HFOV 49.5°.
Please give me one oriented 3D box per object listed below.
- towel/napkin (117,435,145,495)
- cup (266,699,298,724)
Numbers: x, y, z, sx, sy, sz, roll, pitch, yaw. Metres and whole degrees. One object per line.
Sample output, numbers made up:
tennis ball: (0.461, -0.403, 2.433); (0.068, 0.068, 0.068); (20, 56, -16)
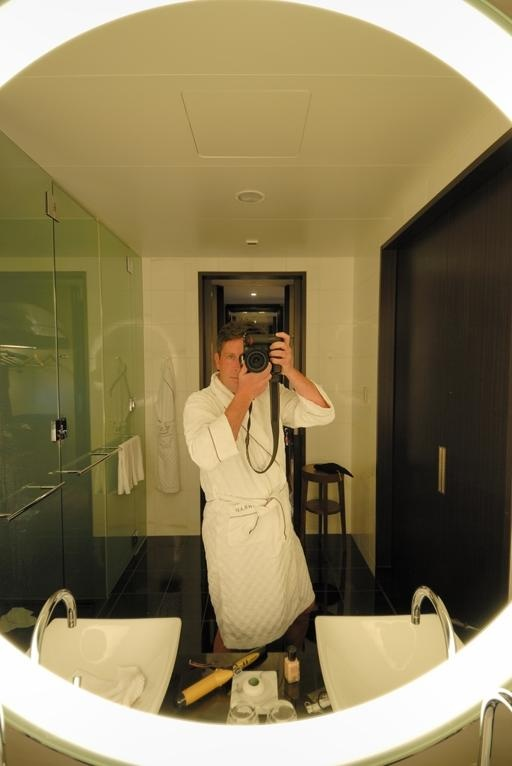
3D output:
towel/napkin: (-0.487, 0.324, 2.151); (0.057, 0.210, 0.208); (-1, 4, 10)
cup: (0.038, 0.502, 0.848); (0.040, 0.043, 0.042); (0, -5, 0)
